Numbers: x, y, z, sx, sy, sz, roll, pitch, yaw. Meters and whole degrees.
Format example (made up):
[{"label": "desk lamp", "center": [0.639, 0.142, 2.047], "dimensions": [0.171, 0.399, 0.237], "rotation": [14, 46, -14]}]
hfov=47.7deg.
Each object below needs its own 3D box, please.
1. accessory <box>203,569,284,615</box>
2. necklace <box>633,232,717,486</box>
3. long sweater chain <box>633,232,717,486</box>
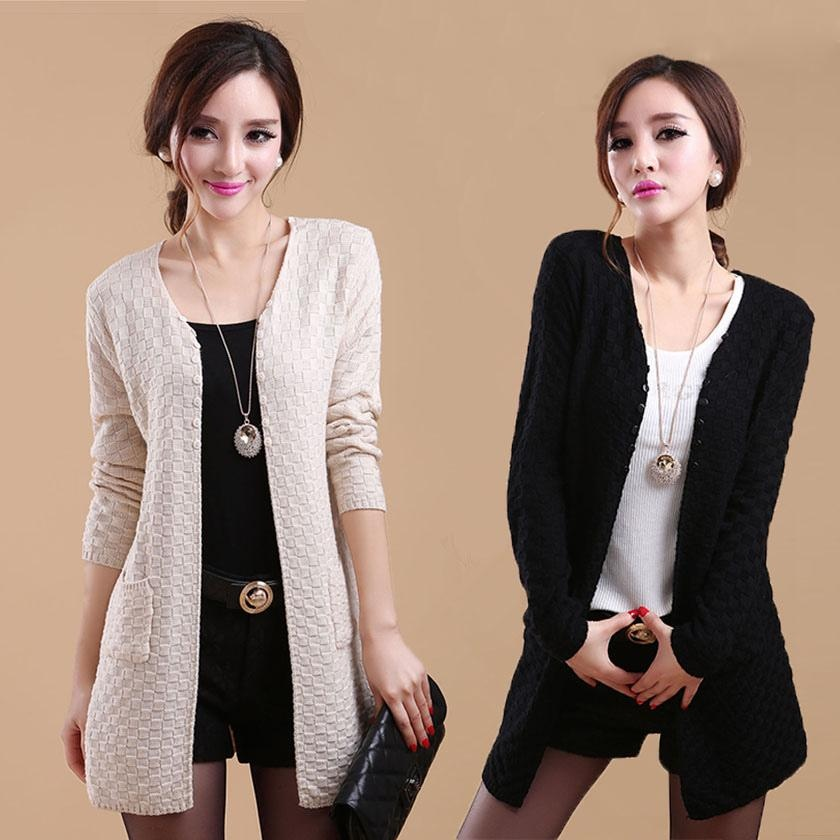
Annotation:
[{"label": "accessory", "center": [-0.307, 0.292, 1.646], "dimensions": [0.106, 0.035, 0.096], "rotation": [3, -6, 41]}, {"label": "necklace", "center": [0.493, -0.117, 1.911], "dimensions": [0.167, 0.495, 0.161], "rotation": [4, 0, 11]}, {"label": "long sweater chain", "center": [0.493, -0.117, 1.911], "dimensions": [0.167, 0.495, 0.161], "rotation": [4, 0, 11]}]
